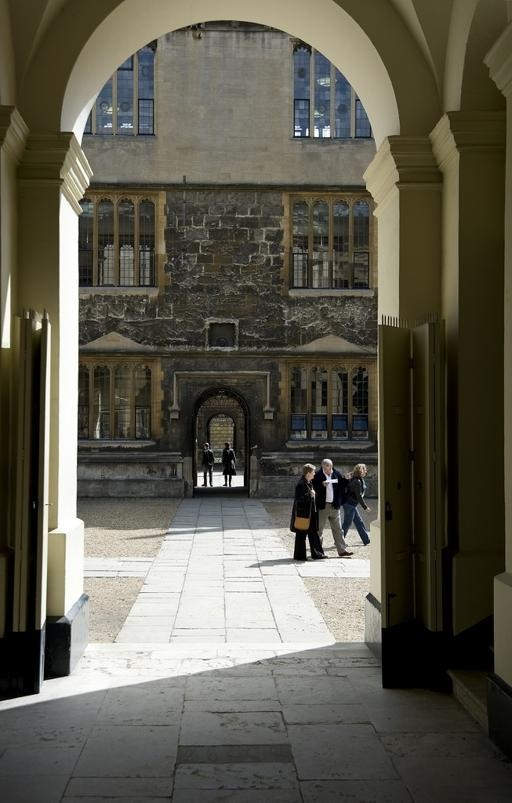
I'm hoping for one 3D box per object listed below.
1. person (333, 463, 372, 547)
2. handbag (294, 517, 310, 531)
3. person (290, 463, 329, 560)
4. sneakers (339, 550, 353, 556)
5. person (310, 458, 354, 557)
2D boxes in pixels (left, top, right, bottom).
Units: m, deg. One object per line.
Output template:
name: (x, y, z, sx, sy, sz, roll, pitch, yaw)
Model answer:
person: (1.404, 1.382, 11.443, 0.452, 1.160, 0.403, 5, 10, 19)
handbag: (0.579, 1.470, 10.126, 0.136, 0.176, 0.062, 3, 4, 13)
person: (0.659, 1.368, 10.438, 0.378, 1.219, 0.774, -1, -4, 17)
sneakers: (1.223, 1.956, 10.752, 0.147, 0.069, 0.290, -2, -4, 39)
person: (1.012, 1.383, 10.950, 0.516, 1.335, 0.483, 1, 6, 25)
